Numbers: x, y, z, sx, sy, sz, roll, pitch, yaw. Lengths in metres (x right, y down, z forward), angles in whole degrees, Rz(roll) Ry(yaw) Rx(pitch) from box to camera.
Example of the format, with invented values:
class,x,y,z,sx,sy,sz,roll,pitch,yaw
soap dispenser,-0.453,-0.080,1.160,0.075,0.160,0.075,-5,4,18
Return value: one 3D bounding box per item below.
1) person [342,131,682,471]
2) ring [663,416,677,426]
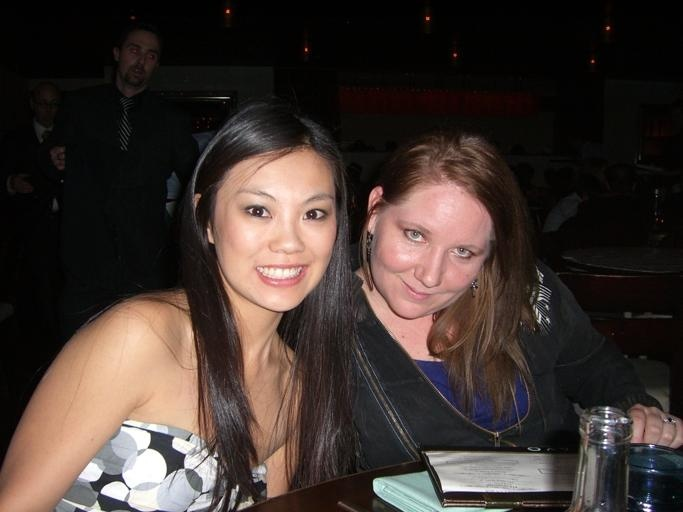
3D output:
class,x,y,z,sx,sy,sz,roll,pitch,yaw
person,0.536,0.175,2.138,0.999,1.191,0.442,2,-2,-9
ring,1.016,0.506,1.803,0.027,0.018,0.045,0,-3,29
